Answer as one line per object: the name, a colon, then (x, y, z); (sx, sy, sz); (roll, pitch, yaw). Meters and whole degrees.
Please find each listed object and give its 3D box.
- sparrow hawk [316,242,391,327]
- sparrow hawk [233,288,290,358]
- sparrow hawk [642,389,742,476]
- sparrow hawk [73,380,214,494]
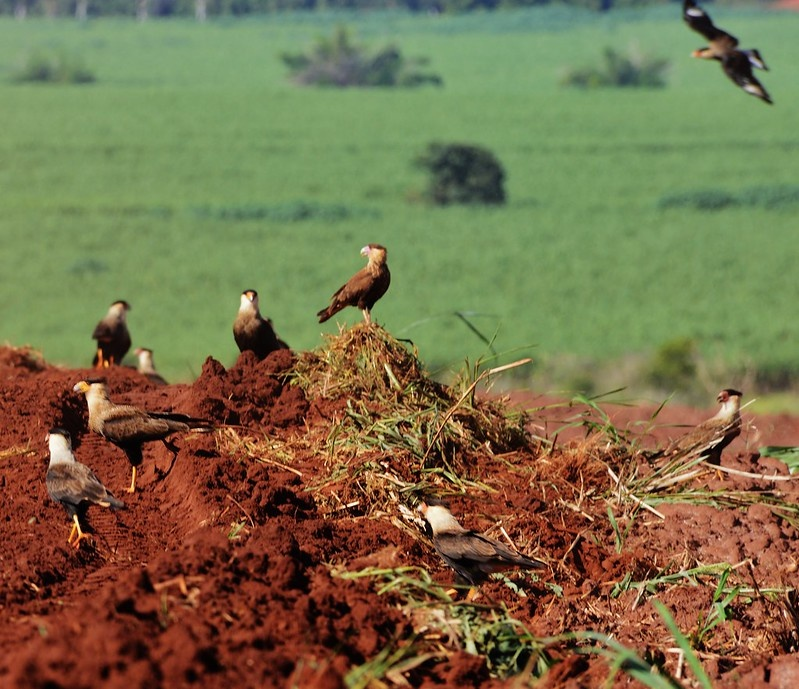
sparrow hawk: (-0.597, -0.804, 17.088); (1.138, 1.168, 0.525); (-3, 4, 24)
sparrow hawk: (-1.993, -0.257, 17.631); (0.525, 1.118, 0.989); (2, 4, 14)
sparrow hawk: (3.896, 1.112, 15.638); (1.285, 0.801, 0.666); (-20, 36, -33)
sparrow hawk: (-3.157, 1.087, 15.496); (1.606, 1.464, 0.510); (-1, 14, 0)
